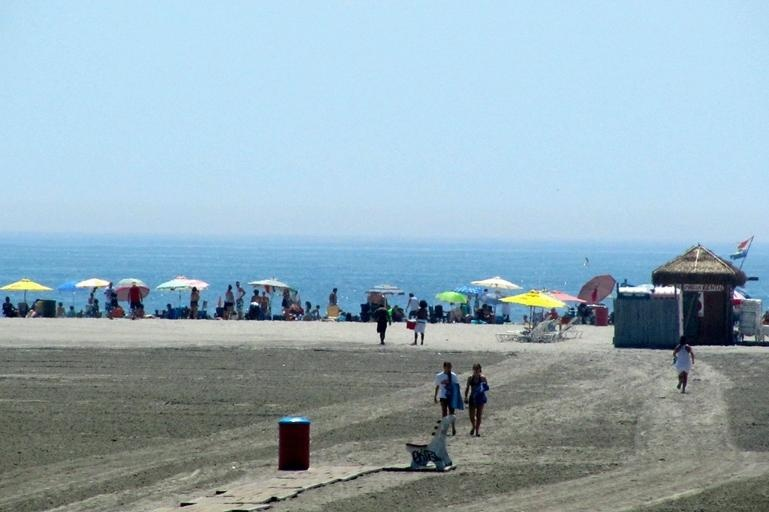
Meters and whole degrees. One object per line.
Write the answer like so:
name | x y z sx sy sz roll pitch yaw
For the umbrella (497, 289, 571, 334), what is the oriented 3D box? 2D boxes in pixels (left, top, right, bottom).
umbrella | 6.216 2.349 49.283 1.993 1.270 1.903 -2 5 -27

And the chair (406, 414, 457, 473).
chair | 1.176 4.700 31.397 1.133 1.373 1.236 0 0 1

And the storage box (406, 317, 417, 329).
storage box | 0.997 2.534 46.287 0.407 0.292 0.388 0 -1 -7

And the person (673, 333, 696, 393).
person | 9.006 3.283 37.353 0.532 1.617 0.948 0 0 12
